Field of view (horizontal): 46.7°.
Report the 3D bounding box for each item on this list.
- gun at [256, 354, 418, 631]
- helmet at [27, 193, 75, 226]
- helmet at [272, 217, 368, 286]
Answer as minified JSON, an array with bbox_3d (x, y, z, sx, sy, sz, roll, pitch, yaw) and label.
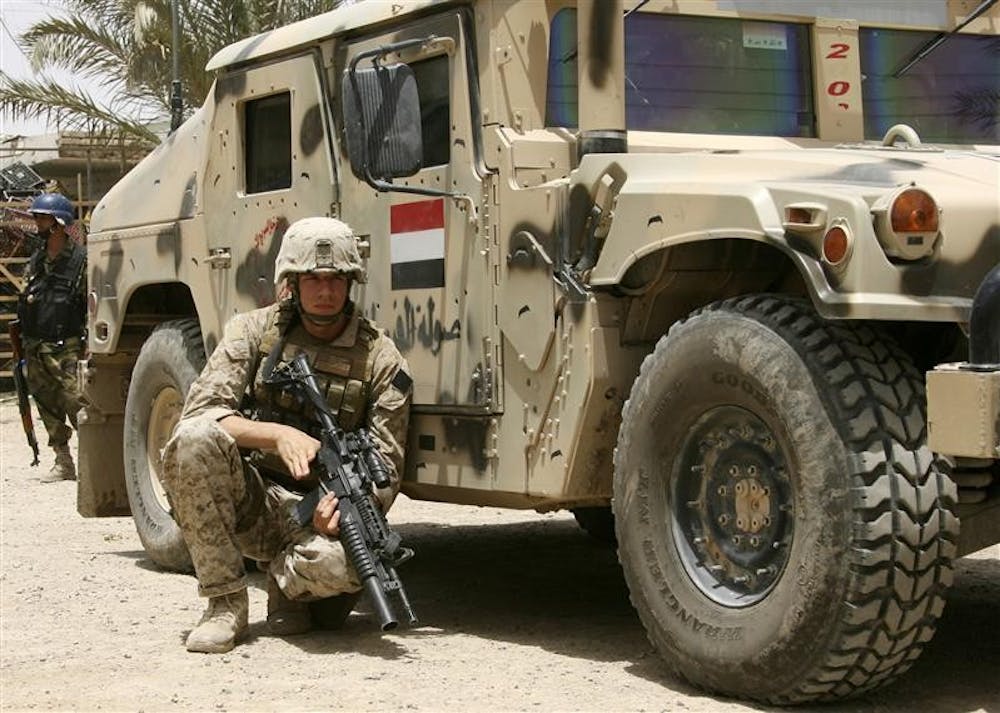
[{"bbox_3d":[-0.789,0.596,5.407,0.544,1.302,0.172,-35,-28,22],"label":"gun"},{"bbox_3d":[-4.029,-1.326,10.388,0.357,0.285,0.366,0,1,-29],"label":"helmet"},{"bbox_3d":[-0.888,-0.514,5.670,0.462,0.363,0.508,-4,8,-28],"label":"helmet"}]
